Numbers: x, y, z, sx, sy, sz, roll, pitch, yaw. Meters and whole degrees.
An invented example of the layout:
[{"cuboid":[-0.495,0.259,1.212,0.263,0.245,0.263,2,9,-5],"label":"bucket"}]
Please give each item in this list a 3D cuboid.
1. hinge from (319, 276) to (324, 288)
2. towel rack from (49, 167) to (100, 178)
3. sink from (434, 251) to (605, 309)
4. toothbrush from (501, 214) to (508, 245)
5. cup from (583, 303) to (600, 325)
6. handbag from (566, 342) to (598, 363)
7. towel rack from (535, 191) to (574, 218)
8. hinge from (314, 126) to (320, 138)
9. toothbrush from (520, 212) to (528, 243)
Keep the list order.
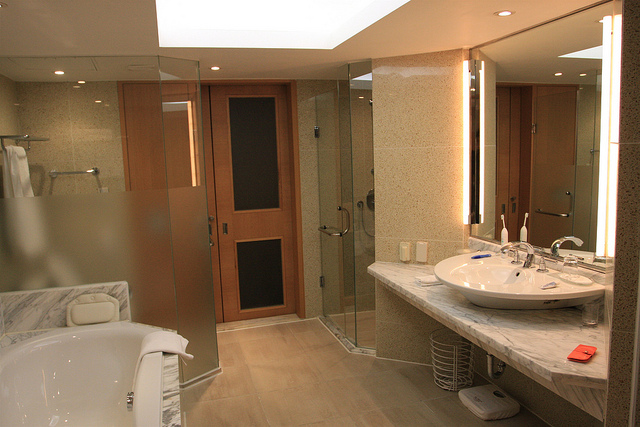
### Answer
[{"cuboid":[0.027,0.759,5.233,0.062,0.125,0.015,3,11,36],"label":"hinge"},{"cuboid":[-1.830,-0.303,3.481,0.363,0.090,0.060,-4,2,-14],"label":"towel rack"},{"cuboid":[1.323,0.417,3.363,1.023,0.288,1.226,-3,6,-19],"label":"sink"},{"cuboid":[1.483,0.128,3.786,0.047,0.228,0.053,0,9,18],"label":"toothbrush"},{"cuboid":[1.756,0.639,3.026,0.155,0.128,0.073,-8,10,-31],"label":"cup"},{"cuboid":[1.527,0.818,2.752,0.166,0.057,0.102,-10,10,-40],"label":"handbag"},{"cuboid":[1.711,-0.072,3.445,0.030,0.193,0.303,-7,9,-22],"label":"towel rack"},{"cuboid":[-0.028,-0.867,5.012,0.023,0.121,0.099,-7,9,-22],"label":"hinge"},{"cuboid":[1.588,0.109,3.665,0.056,0.222,0.031,1,10,24],"label":"toothbrush"}]
